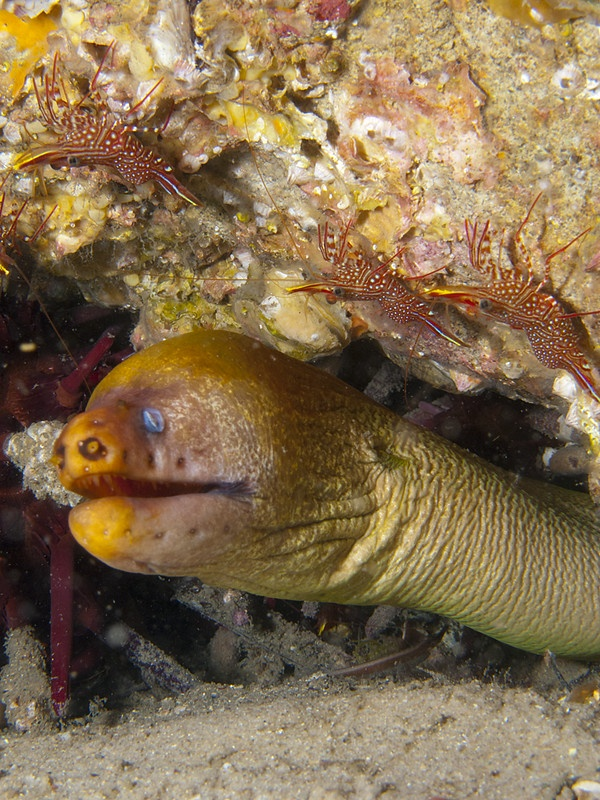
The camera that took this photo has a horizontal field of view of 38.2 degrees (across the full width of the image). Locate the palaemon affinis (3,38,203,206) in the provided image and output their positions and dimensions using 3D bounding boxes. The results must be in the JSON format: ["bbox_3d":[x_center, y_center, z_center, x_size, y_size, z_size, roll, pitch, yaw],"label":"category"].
[{"bbox_3d":[-0.634,-0.882,2.877,0.460,0.314,0.196,7,-5,-33],"label":"palaemon affinis"}]
